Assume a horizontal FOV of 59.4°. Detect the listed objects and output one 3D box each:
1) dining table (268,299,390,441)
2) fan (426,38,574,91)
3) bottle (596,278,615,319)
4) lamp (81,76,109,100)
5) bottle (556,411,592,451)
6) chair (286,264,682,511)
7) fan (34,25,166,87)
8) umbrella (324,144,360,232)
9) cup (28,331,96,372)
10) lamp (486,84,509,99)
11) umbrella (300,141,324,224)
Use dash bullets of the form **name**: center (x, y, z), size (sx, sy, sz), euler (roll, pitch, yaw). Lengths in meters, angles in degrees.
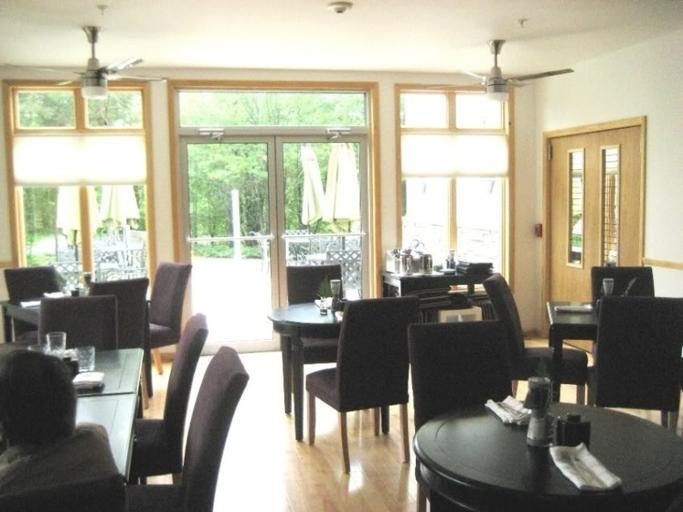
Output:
- **dining table**: center (-0.131, 0.877, 4.620), size (0.855, 0.836, 0.880), euler (1, 2, 7)
- **fan**: center (1.435, -1.552, 5.231), size (0.879, 0.356, 0.879), euler (3, 8, 10)
- **bottle**: center (1.972, 0.300, 4.411), size (0.152, 0.257, 0.158), euler (6, -5, 1)
- **lamp**: center (-1.951, -1.297, 4.718), size (0.188, 0.161, 0.191), euler (0, 0, 14)
- **bottle**: center (0.962, 0.703, 2.488), size (0.137, 0.172, 0.103), euler (2, -32, 17)
- **chair**: center (0.776, 0.769, 3.537), size (1.315, 0.800, 0.783), euler (-3, 11, -15)
- **fan**: center (-1.899, -1.553, 4.720), size (0.693, 0.435, 0.798), euler (4, 18, 20)
- **umbrella**: center (-0.005, -0.763, 6.533), size (0.377, 0.910, 0.141), euler (-2, 10, -1)
- **cup**: center (-1.405, 0.479, 3.036), size (0.259, 0.093, 0.166), euler (0, 13, -2)
- **lamp**: center (1.326, -1.404, 5.148), size (0.136, 0.097, 0.126), euler (3, 4, 37)
- **umbrella**: center (-0.319, -0.778, 6.458), size (0.242, 0.852, 0.116), euler (-2, 10, -2)
